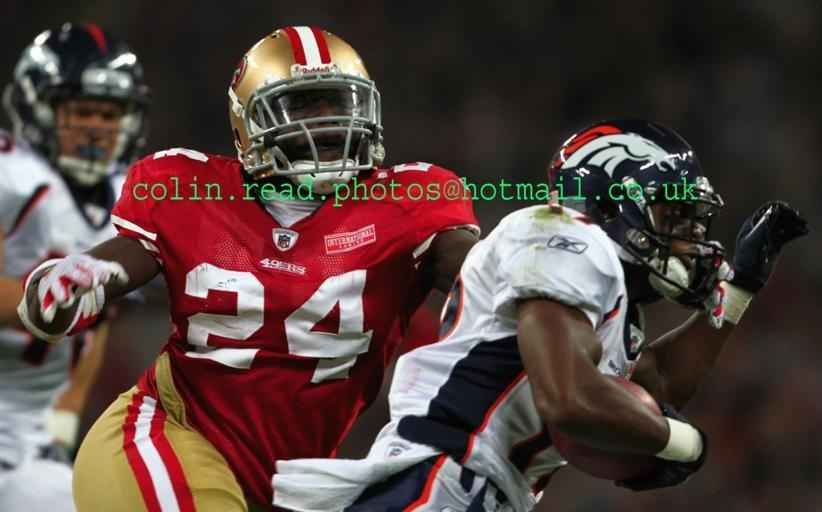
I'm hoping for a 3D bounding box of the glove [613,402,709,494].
[{"bbox_3d":[0.975,0.747,3.687,0.391,0.176,0.275,-15,-39,5],"label":"glove"}]

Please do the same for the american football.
[{"bbox_3d":[0.908,0.591,3.652,0.185,0.172,0.234,4,17,16],"label":"american football"}]

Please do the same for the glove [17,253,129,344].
[{"bbox_3d":[-1.426,0.180,3.891,0.438,0.376,0.213,-1,5,-21],"label":"glove"}]

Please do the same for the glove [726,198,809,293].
[{"bbox_3d":[1.690,-0.055,4.342,0.302,0.561,0.237,-2,-2,23],"label":"glove"}]
